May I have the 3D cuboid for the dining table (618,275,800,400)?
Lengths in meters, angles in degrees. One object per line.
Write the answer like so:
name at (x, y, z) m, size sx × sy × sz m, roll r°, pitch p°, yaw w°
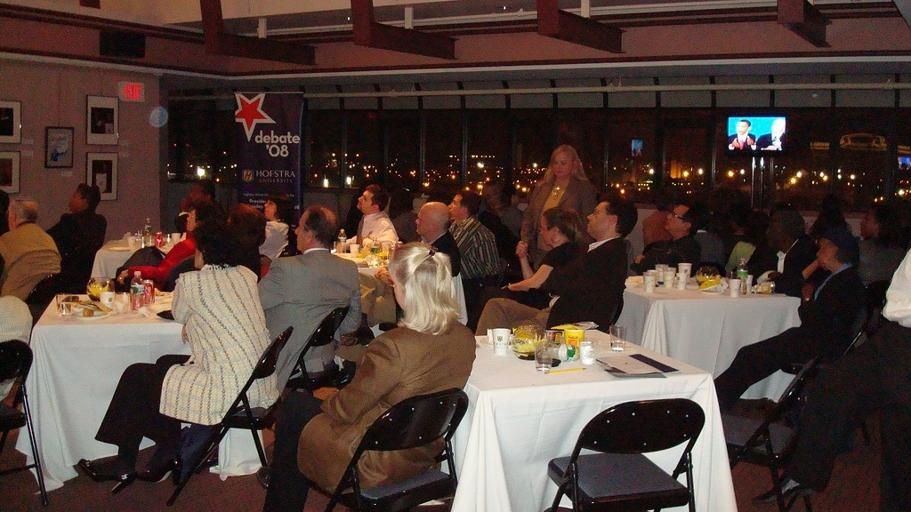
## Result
dining table at (2.628, 0.734, 6.682) m, size 1.476 × 0.723 × 1.476 m, roll 4°, pitch 3°, yaw -30°

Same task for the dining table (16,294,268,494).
dining table at (-3.050, 1.070, 5.455) m, size 1.733 × 0.846 × 1.616 m, roll -3°, pitch 7°, yaw -42°

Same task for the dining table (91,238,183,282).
dining table at (-4.429, -0.030, 8.674) m, size 1.071 × 0.265 × 1.052 m, roll 3°, pitch 15°, yaw 14°

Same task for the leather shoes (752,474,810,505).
leather shoes at (2.536, 1.890, 5.102) m, size 0.597 × 0.232 × 0.188 m, roll 1°, pitch -3°, yaw -2°

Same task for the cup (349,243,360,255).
cup at (-1.249, -0.078, 8.143) m, size 0.132 × 0.134 × 0.129 m, roll 1°, pitch -11°, yaw 0°

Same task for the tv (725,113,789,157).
tv at (4.965, -1.976, 10.481) m, size 0.773 × 0.509 × 0.100 m, roll 2°, pitch 4°, yaw 12°

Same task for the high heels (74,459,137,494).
high heels at (-2.879, 1.843, 5.331) m, size 0.330 × 0.175 × 0.117 m, roll 32°, pitch 0°, yaw -7°

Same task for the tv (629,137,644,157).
tv at (3.166, -1.904, 11.170) m, size 0.353 × 0.446 × 0.060 m, roll 3°, pitch 14°, yaw 22°

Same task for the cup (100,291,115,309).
cup at (-3.012, 0.381, 5.668) m, size 0.160 × 0.141 × 0.100 m, roll -5°, pitch 9°, yaw -42°

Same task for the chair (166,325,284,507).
chair at (-1.824, 1.300, 5.271) m, size 0.904 × 1.427 × 0.550 m, roll 3°, pitch 6°, yaw 14°
